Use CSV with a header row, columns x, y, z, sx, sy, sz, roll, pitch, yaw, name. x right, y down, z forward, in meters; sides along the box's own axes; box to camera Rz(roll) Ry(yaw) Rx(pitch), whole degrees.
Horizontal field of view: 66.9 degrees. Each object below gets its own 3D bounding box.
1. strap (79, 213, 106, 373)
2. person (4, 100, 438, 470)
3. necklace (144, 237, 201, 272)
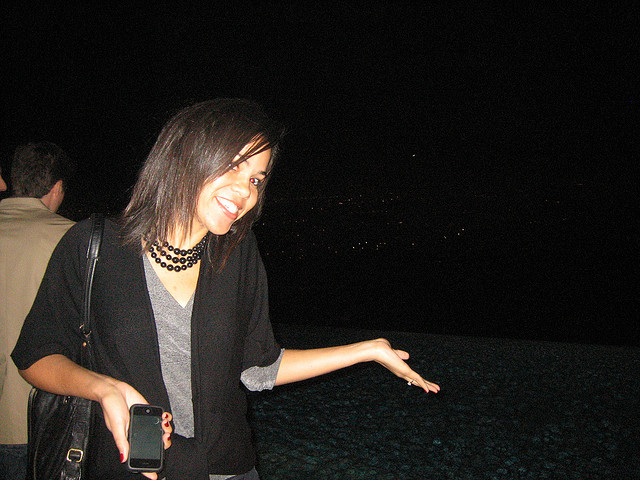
x,y,z,sx,sy,sz,roll,pitch,yaw,name
-0.516,0.162,1.065,0.022,0.251,0.067,5,-4,-31,strap
-0.280,0.111,1.115,0.745,0.864,0.273,-4,7,-34,person
-0.337,0.045,1.115,0.113,0.057,0.017,-2,6,-22,necklace
